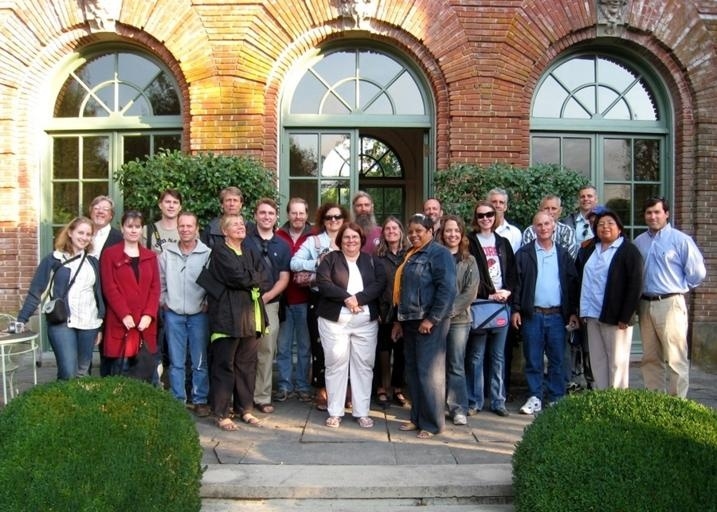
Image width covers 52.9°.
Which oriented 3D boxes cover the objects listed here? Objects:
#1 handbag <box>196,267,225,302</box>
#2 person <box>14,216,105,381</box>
[{"bbox_3d":[-1.642,0.313,7.973,0.291,0.351,0.165,2,3,37],"label":"handbag"},{"bbox_3d":[-3.212,0.468,7.889,0.815,1.723,0.293,-1,3,-22],"label":"person"}]
